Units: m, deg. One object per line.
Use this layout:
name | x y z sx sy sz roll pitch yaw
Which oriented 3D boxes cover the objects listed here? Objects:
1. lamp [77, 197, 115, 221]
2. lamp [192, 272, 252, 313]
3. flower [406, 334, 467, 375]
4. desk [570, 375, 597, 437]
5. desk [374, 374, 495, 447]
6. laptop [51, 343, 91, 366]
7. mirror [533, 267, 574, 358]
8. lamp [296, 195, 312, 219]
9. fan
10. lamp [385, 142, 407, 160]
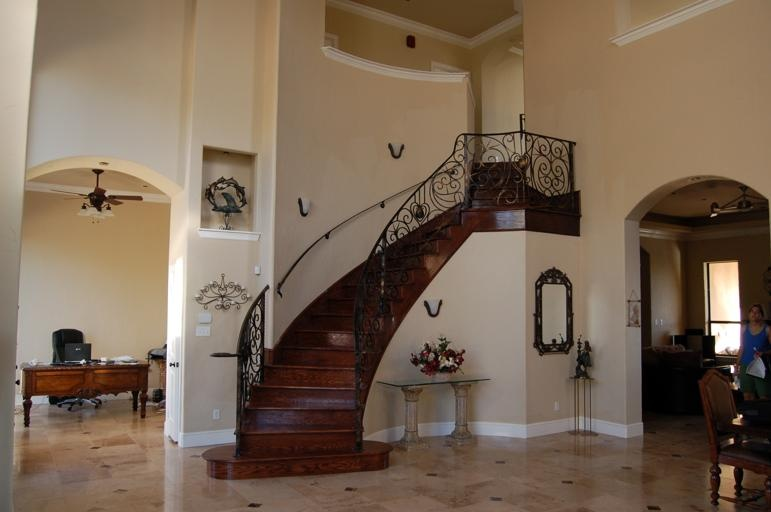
lamp | -5.428 -0.808 10.384 0.654 0.273 0.675 3 1 7
lamp | -2.497 0.556 8.551 0.611 0.474 0.121 0 0 -23
flower | 0.821 1.506 8.452 0.589 0.432 0.594 0 -1 12
desk | 3.136 2.392 9.065 0.427 0.936 0.432 1 -5 -14
desk | 0.712 2.252 8.373 1.556 0.970 0.523 2 -6 -18
laptop | -5.732 1.770 10.414 0.683 0.482 0.479 4 -1 -35
mirror | 2.677 0.882 9.033 0.895 1.374 0.187 5 -8 -39
lamp | -1.255 -0.766 8.964 0.259 0.319 0.104 5 -8 -40
fan | -5.113 -1.060 10.588 1.305 0.669 1.202 6 8 33
lamp | 0.208 -1.818 9.828 0.362 0.291 0.089 2 -6 -22
